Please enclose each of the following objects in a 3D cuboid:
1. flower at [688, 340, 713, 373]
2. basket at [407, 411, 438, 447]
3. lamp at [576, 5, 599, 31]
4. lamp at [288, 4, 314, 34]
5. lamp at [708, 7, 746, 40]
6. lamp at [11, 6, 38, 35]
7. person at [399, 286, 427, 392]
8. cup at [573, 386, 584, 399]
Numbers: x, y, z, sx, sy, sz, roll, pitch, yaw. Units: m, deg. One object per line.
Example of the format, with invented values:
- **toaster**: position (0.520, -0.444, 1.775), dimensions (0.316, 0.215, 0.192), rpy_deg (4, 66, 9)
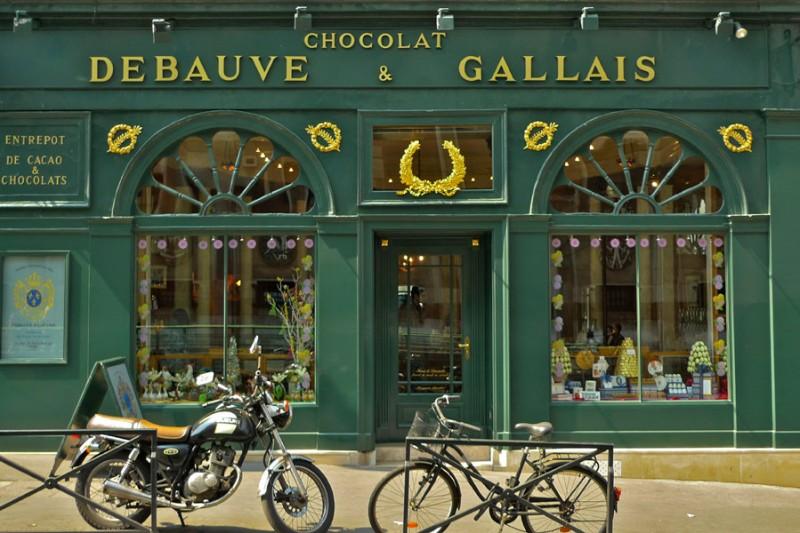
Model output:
- **flower**: position (4.411, 1.335, 19.432), dimensions (0.421, 0.545, 0.430), rpy_deg (0, -2, 17)
- **basket**: position (0.274, 2.089, 17.141), dimensions (0.432, 0.378, 0.351), rpy_deg (3, -2, -2)
- **lamp**: position (2.755, -3.619, 19.255), dimensions (0.275, 0.363, 0.361), rpy_deg (1, -1, 2)
- **lamp**: position (-1.412, -3.603, 19.276), dimensions (0.406, 0.564, 0.292), rpy_deg (0, -2, -5)
- **lamp**: position (4.781, -3.525, 19.246), dimensions (0.281, 0.536, 0.488), rpy_deg (-3, 13, 24)
- **lamp**: position (-5.470, -3.562, 19.217), dimensions (0.308, 0.307, 0.299), rpy_deg (-3, 13, -26)
- **person**: position (0.238, 1.046, 19.670), dimensions (0.352, 1.607, 0.126), rpy_deg (2, -2, 37)
- **cup**: position (2.613, 1.855, 19.352), dimensions (0.165, 0.246, 0.079), rpy_deg (2, -2, 4)
